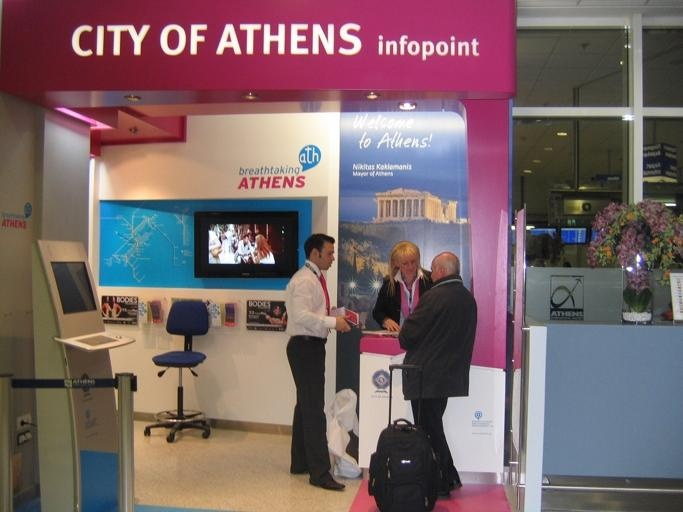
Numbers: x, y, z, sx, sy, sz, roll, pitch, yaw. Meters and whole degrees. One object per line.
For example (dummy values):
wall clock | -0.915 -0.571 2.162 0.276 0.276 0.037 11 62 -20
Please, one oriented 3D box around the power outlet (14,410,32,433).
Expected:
power outlet | -2.633 1.362 5.493 0.089 0.126 0.167 1 -1 9

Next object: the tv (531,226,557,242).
tv | 2.012 -0.227 6.623 0.193 0.117 0.139 0 -3 9

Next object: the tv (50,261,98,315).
tv | -2.189 0.265 5.380 0.043 0.500 0.409 -20 -6 24

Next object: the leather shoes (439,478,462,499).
leather shoes | 0.908 1.976 5.659 0.276 0.139 0.102 1 -2 -4

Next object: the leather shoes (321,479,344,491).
leather shoes | -0.078 1.986 5.833 0.202 0.094 0.081 -1 -3 14

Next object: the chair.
chair | -1.739 1.194 7.123 0.725 1.403 0.752 1 6 14

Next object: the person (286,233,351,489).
person | -0.231 0.913 5.902 0.501 2.195 0.527 -1 5 -6
